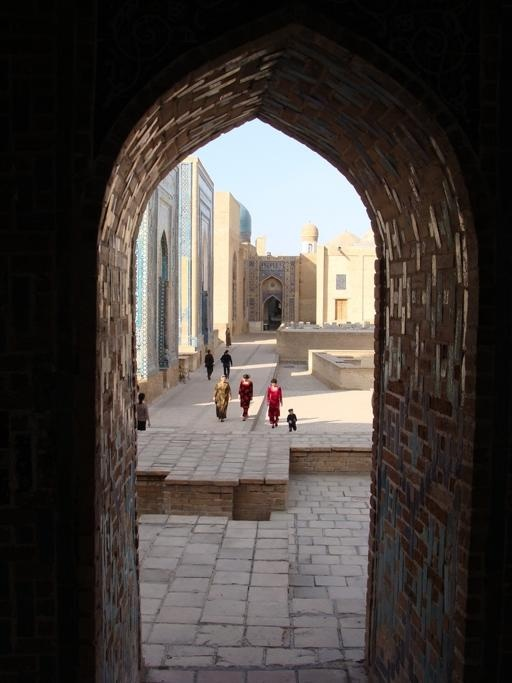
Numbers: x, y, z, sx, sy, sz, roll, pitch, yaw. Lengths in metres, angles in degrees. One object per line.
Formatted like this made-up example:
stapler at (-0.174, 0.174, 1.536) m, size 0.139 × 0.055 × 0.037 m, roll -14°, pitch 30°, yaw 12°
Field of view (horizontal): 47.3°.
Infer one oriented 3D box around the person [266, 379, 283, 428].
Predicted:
person at (0.257, 0.919, 8.945) m, size 0.231 × 0.764 × 0.171 m, roll -4°, pitch 23°, yaw -8°

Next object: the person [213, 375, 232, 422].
person at (-0.552, 0.885, 9.363) m, size 0.217 × 0.719 × 0.861 m, roll 0°, pitch 4°, yaw -4°
